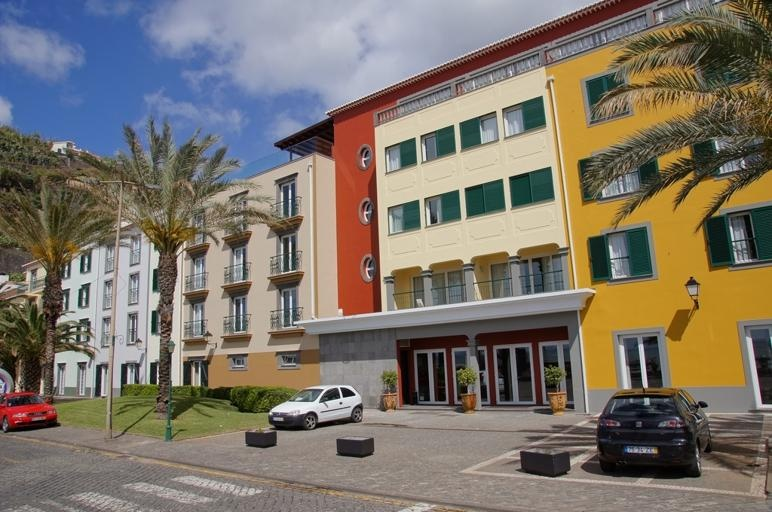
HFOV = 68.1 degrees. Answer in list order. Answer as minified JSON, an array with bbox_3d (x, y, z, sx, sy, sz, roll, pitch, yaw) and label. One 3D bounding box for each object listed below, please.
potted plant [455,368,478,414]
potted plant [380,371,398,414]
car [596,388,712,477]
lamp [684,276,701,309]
[{"bbox_3d":[4.289,6.862,29.251,0.979,2.175,2.168,-5,-16,8],"label":"potted plant"},{"bbox_3d":[0.224,7.372,31.409,0.954,2.185,0.695,-5,-16,7],"label":"potted plant"},{"bbox_3d":[7.791,5.148,16.665,3.283,2.504,1.600,-2,-16,-1],"label":"car"},{"bbox_3d":[13.419,1.558,24.990,0.593,1.399,0.778,-11,-18,25],"label":"lamp"}]
